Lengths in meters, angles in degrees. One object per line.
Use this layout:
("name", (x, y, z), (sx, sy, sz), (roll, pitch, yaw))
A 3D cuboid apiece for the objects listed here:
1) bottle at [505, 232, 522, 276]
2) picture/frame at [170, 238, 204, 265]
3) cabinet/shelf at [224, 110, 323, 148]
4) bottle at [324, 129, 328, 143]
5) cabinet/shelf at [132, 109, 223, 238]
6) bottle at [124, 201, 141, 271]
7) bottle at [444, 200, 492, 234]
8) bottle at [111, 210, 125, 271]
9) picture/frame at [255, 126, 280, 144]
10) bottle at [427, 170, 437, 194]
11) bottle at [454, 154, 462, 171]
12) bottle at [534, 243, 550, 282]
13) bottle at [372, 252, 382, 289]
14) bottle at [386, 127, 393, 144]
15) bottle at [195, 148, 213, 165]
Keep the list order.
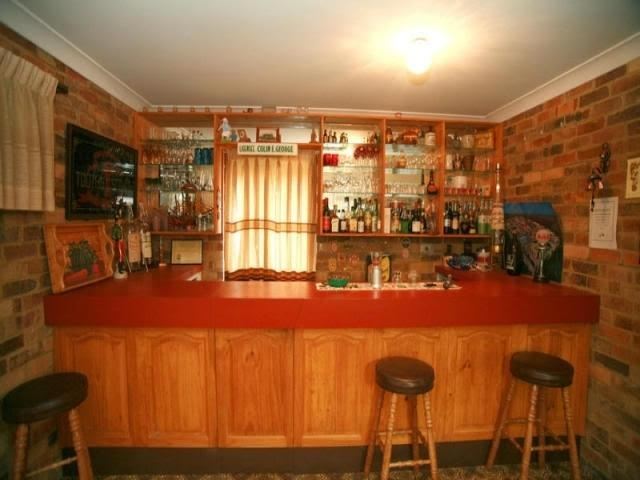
("bottle", (2.023, 0.144, 5.256), (0.089, 0.433, 0.291), (-1, 3, -5))
("picture/frame", (-1.532, 0.143, 5.691), (0.287, 0.256, 0.102), (1, 1, -4))
("cabinet/shelf", (-0.522, -1.192, 5.560), (1.190, 0.393, 0.385), (6, 4, 15))
("bottle", (0.071, -1.159, 5.557), (0.070, 0.166, 0.204), (-1, 3, 0))
("cabinet/shelf", (-1.552, -0.646, 5.728), (0.877, 1.351, 0.432), (0, -15, -11))
("bottle", (-1.915, -0.022, 5.154), (0.085, 0.684, 0.275), (-1, 3, 4))
("bottle", (1.655, -0.239, 5.575), (0.369, 0.315, 0.122), (1, -1, 4))
("bottle", (-1.953, 0.015, 4.811), (0.107, 0.602, 0.344), (-2, 4, -23))
("picture/frame", (-0.574, -1.176, 5.582), (0.271, 0.232, 0.478), (-1, 3, -5))
("bottle", (1.257, -0.634, 5.551), (0.109, 0.262, 0.097), (0, 3, 12))
("bottle", (1.545, -0.873, 5.580), (0.092, 0.180, 0.146), (1, 4, 22))
("bottle", (2.133, 0.222, 4.809), (0.106, 0.355, 0.223), (1, 4, 25))
("bottle", (0.511, 0.283, 4.510), (0.091, 0.317, 0.117), (0, 3, 5))
("bottle", (0.793, -1.175, 5.610), (0.080, 0.226, 0.346), (0, 3, 9))
("bottle", (-1.267, -0.915, 5.453), (0.210, 0.178, 0.061), (-1, 3, -12))
